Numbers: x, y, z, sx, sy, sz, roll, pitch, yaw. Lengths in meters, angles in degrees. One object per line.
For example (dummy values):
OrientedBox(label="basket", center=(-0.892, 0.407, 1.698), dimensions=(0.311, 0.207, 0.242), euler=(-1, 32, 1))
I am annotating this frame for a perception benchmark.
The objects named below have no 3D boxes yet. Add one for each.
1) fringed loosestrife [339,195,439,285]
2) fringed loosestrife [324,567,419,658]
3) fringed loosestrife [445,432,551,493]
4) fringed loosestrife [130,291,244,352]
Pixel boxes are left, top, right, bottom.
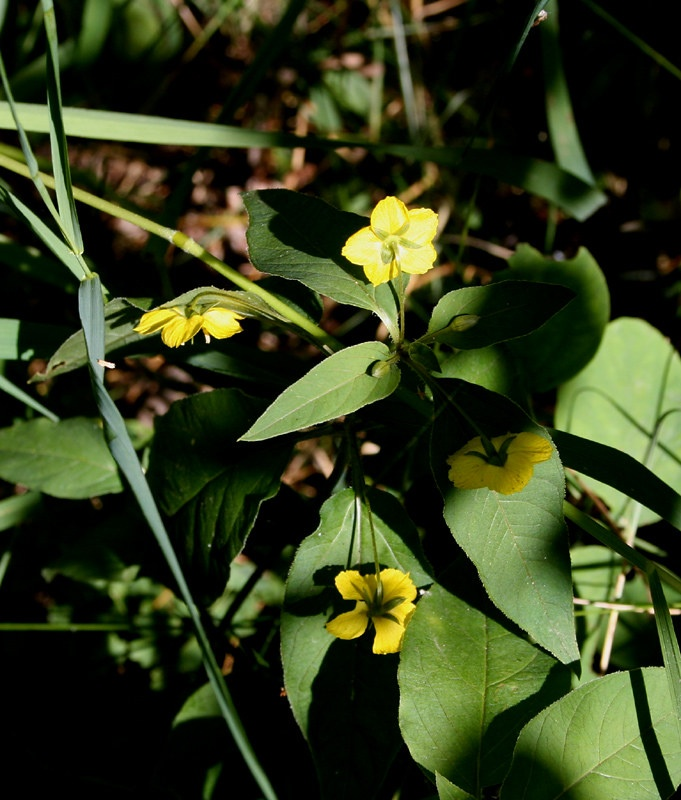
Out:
OrientedBox(label="fringed loosestrife", center=(0.065, -0.198, 1.058), dimensions=(0.117, 0.105, 0.054), euler=(-25, 44, -25))
OrientedBox(label="fringed loosestrife", center=(0.042, 0.271, 1.094), dimensions=(0.100, 0.078, 0.101), euler=(5, 37, 11))
OrientedBox(label="fringed loosestrife", center=(0.197, 0.073, 1.054), dimensions=(0.126, 0.055, 0.084), euler=(3, 36, 8))
OrientedBox(label="fringed loosestrife", center=(-0.197, -0.103, 1.130), dimensions=(0.154, 0.078, 0.059), euler=(-24, 43, -27))
